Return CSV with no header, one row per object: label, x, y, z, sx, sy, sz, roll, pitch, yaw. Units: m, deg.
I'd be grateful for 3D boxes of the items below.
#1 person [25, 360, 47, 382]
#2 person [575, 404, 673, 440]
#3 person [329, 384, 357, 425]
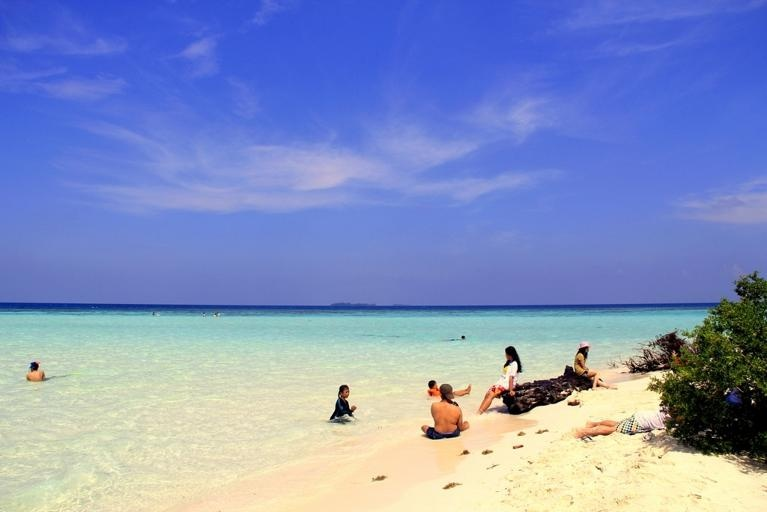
person,-17.030,5.656,26.938,0.629,0.986,0.604,0,2,34
person,6.780,4.705,15.487,1.949,0.511,1.130,-13,32,26
person,-1.624,5.732,21.656,0.751,1.412,0.980,0,2,35
